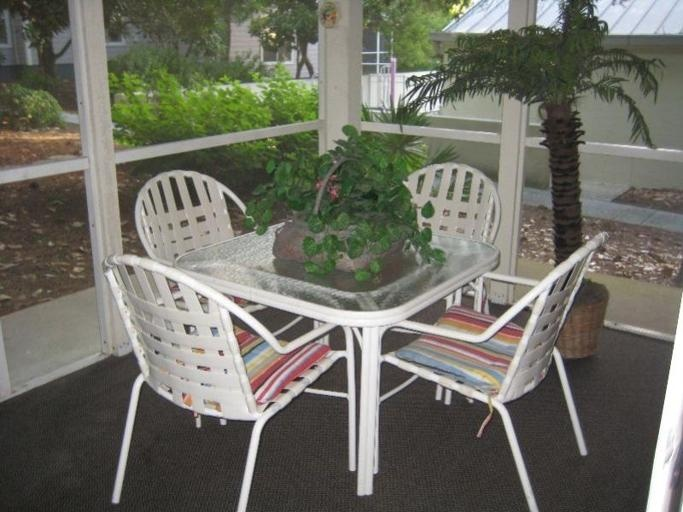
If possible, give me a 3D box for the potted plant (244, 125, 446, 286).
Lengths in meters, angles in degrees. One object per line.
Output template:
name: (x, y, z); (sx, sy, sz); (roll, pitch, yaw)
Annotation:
potted plant: (-0.007, -0.073, 2.550); (0.734, 0.418, 0.782); (13, 52, 8)
